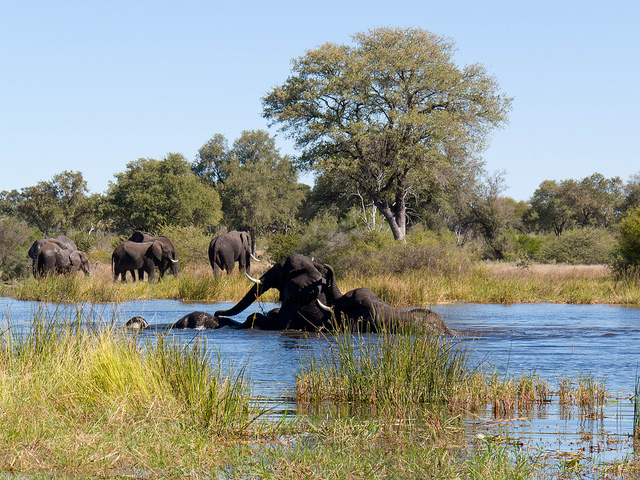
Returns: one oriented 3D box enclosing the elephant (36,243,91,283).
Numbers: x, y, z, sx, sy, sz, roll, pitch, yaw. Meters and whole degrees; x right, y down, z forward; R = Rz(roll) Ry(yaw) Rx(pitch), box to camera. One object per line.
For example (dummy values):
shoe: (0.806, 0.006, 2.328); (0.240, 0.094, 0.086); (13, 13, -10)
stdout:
elephant: (-9.117, 0.909, 28.384); (1.178, 1.700, 2.715); (3, -1, 30)

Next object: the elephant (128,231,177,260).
elephant: (-6.815, 0.200, 31.760); (1.819, 1.291, 0.968); (1, 6, -1)

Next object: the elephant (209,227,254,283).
elephant: (-3.588, 0.689, 32.073); (1.041, 2.130, 3.129); (-2, 0, 20)

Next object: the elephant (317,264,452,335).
elephant: (1.040, 1.067, 14.158); (2.401, 1.258, 0.937); (-2, -8, 33)

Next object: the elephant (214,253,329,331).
elephant: (-0.709, 1.027, 15.074); (1.838, 1.528, 0.860); (-5, -10, 45)

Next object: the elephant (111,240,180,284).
elephant: (-6.921, 0.860, 31.047); (2.612, 1.843, 1.195); (-2, 10, -22)

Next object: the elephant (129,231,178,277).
elephant: (-7.033, 0.338, 31.849); (2.386, 1.725, 1.214); (1, 1, 8)

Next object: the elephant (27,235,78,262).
elephant: (-9.921, 0.301, 28.926); (0.845, 1.265, 1.964); (-1, -2, 33)
